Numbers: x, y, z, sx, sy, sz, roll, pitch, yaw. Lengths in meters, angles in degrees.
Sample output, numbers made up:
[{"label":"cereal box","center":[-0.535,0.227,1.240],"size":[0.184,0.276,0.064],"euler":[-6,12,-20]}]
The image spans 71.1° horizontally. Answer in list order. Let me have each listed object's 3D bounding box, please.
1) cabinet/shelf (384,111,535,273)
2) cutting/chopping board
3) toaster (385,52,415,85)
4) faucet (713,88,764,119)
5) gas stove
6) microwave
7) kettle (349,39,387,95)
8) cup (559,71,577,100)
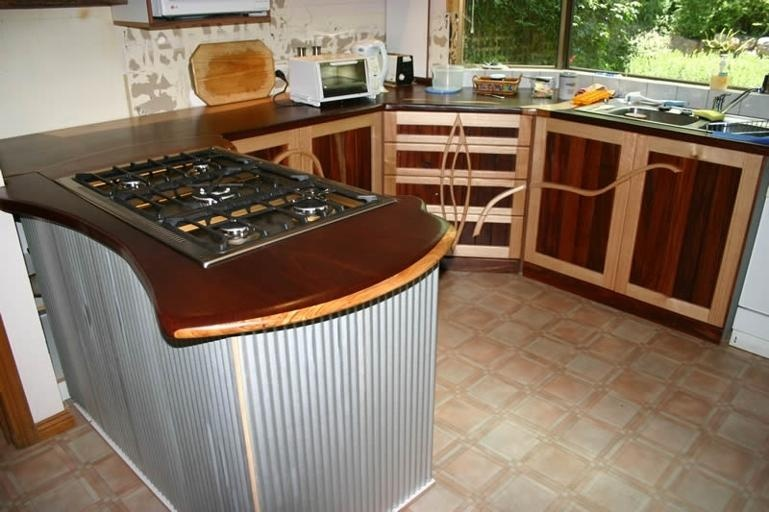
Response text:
[{"label":"cabinet/shelf","center":[0.492,-0.553,4.087],"size":[1.051,1.051,0.651],"euler":[-4,27,-17]},{"label":"cutting/chopping board","center":[-1.052,-1.291,3.796],"size":[0.609,0.399,0.118],"euler":[-22,34,-35]},{"label":"toaster","center":[0.127,-1.550,4.516],"size":[0.194,0.221,0.322],"euler":[-7,21,-16]},{"label":"faucet","center":[2.228,-0.992,3.480],"size":[0.378,0.122,0.136],"euler":[-14,24,11]},{"label":"gas stove","center":[-0.716,-0.283,2.389],"size":[1.208,0.169,0.889],"euler":[20,33,39]},{"label":"microwave","center":[-0.457,-1.286,3.985],"size":[0.643,0.370,0.472],"euler":[-15,30,-38]},{"label":"kettle","center":[-0.066,-1.392,3.986],"size":[0.291,0.426,0.250],"euler":[27,35,36]},{"label":"cup","center":[1.360,-1.258,3.985],"size":[0.132,0.183,0.231],"euler":[7,28,17]}]
